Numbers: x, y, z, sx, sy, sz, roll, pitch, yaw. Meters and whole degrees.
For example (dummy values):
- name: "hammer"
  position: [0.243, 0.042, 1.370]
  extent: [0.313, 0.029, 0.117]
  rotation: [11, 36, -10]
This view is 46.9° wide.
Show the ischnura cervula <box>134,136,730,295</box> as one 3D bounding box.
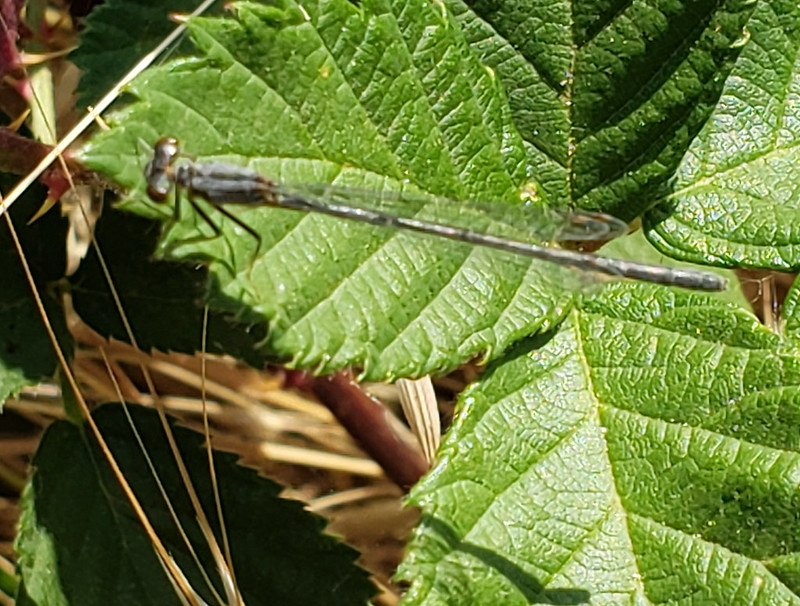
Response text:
- name: "ischnura cervula"
  position: [0.047, -0.131, 1.365]
  extent: [0.647, 0.136, 0.123]
  rotation: [7, 37, -6]
